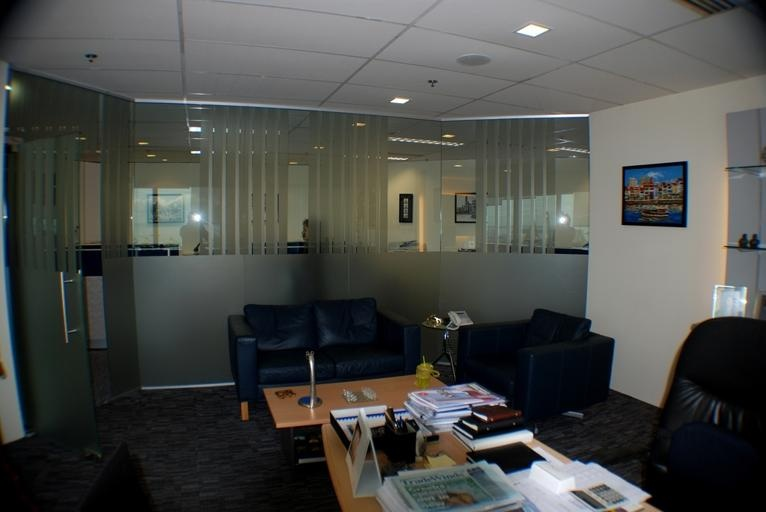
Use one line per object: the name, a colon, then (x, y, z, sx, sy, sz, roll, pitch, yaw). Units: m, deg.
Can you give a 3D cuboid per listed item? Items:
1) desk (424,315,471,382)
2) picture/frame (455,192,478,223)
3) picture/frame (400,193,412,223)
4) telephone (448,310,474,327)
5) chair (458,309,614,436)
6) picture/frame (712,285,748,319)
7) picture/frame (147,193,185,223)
desk: (0.816, 1.213, 6.777, 0.539, 0.597, 0.535, 1, -3, -3)
picture/frame: (1.188, -0.704, 7.332, 0.428, 0.562, 0.041, 1, 1, 17)
picture/frame: (0.334, -0.679, 7.331, 0.207, 0.408, 0.086, -1, 15, -3)
telephone: (0.966, 0.794, 6.586, 0.211, 0.101, 0.206, -1, 7, -20)
chair: (1.770, 1.161, 6.052, 1.365, 1.020, 1.334, 0, 4, -30)
picture/frame: (3.640, 0.522, 5.444, 0.277, 0.047, 0.487, -3, 41, 40)
picture/frame: (-2.682, -0.586, 6.360, 0.376, 0.341, 0.013, 1, 8, -22)
